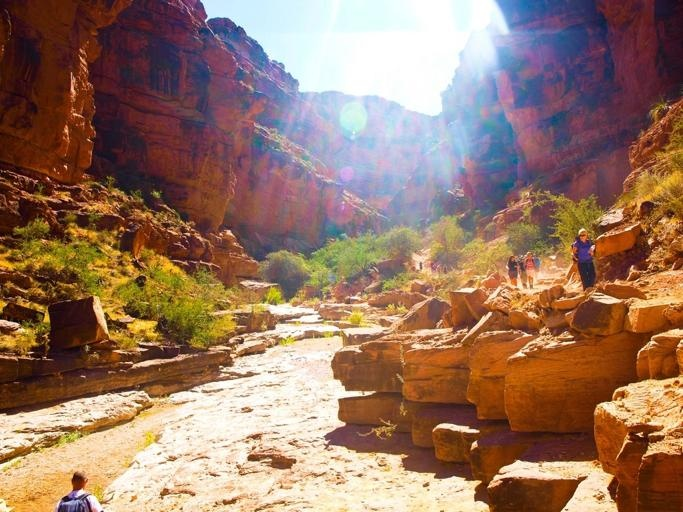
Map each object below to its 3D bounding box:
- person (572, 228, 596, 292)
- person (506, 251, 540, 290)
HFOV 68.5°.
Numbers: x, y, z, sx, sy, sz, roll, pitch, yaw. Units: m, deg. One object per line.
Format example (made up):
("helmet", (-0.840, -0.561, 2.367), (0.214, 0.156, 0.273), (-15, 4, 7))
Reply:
("person", (5.607, 0.045, 11.539), (0.500, 1.296, 0.486), (-1, 7, 23))
("person", (6.750, 0.567, 18.750), (1.006, 1.488, 2.247), (-1, -8, 11))
